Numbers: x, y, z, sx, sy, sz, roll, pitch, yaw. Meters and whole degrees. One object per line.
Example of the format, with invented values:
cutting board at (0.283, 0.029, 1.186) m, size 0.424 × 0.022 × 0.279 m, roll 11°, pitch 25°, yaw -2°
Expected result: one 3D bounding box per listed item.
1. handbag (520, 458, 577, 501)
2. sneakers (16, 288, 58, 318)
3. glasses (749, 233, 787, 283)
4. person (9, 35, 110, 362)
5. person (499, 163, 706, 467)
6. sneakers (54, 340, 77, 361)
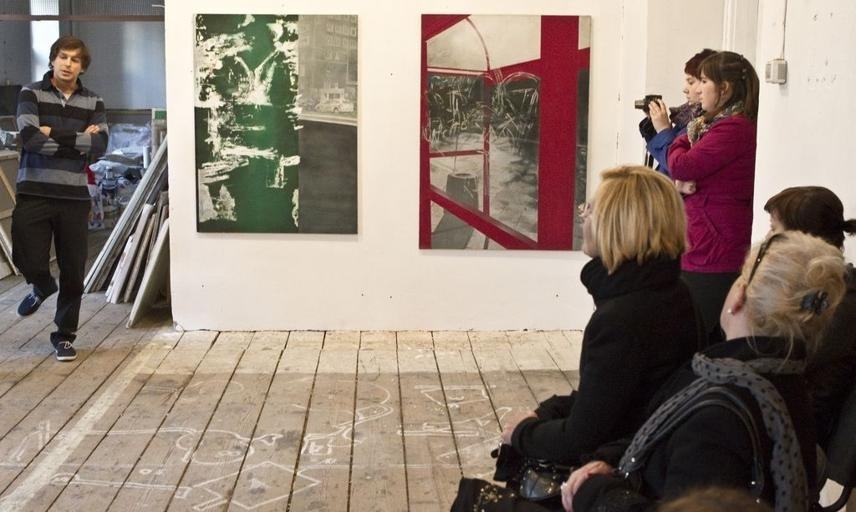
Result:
handbag at (0.451, 0.861, 2.163) m, size 0.165 × 0.058 × 0.119 m, roll -14°, pitch 19°, yaw 15°
sneakers at (-3.803, 0.463, 5.488) m, size 0.140 × 0.153 × 0.392 m, roll 31°, pitch 31°, yaw -2°
glasses at (1.038, -0.006, 1.770) m, size 0.044 × 0.144 × 0.133 m, roll 29°, pitch 13°, yaw 12°
person at (-3.190, -0.512, 4.834) m, size 0.875 × 2.699 × 0.681 m, roll -6°, pitch 15°, yaw -26°
person at (0.809, 0.189, 2.826) m, size 1.116 × 1.418 × 1.051 m, roll 5°, pitch 7°, yaw 35°
sneakers at (-3.124, 0.798, 4.843) m, size 0.160 × 0.153 × 0.240 m, roll -8°, pitch 15°, yaw -33°
